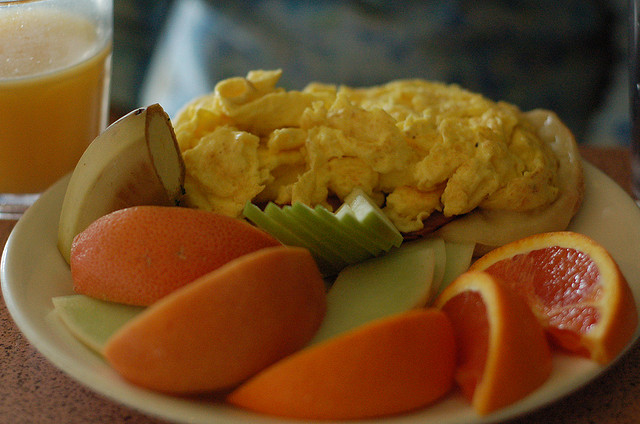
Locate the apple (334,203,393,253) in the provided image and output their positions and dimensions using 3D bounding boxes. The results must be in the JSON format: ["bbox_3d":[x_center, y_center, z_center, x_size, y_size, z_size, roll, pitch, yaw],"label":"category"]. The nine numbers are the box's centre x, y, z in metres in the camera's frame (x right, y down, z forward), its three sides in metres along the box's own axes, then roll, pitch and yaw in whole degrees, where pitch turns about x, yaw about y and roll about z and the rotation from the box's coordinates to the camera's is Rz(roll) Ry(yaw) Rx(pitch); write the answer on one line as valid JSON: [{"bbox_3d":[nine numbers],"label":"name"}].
[{"bbox_3d":[0.079,0.034,1.191,0.119,0.069,0.057,36,56,14],"label":"apple"}]
